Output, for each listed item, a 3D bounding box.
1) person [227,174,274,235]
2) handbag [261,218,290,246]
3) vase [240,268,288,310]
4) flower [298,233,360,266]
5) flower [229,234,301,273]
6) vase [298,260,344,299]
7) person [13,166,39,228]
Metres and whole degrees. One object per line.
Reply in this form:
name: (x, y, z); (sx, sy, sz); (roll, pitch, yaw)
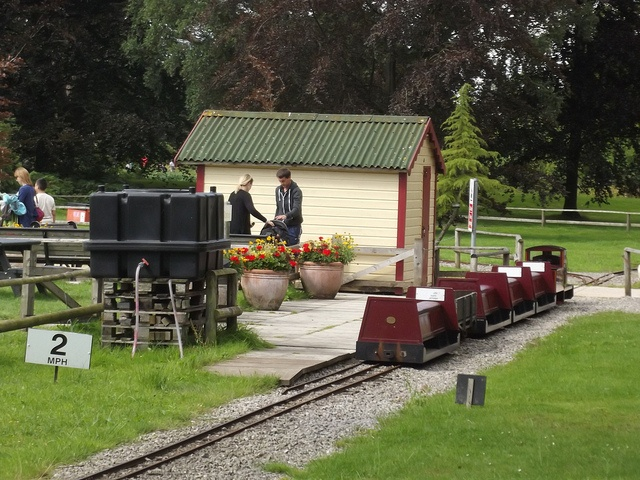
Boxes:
person: (-1.559, -0.697, 18.538); (0.631, 1.158, 1.143); (1, -3, -9)
handbag: (-0.957, -0.190, 17.974); (0.395, 0.557, 0.545); (0, -2, 36)
vase: (-1.094, 0.866, 16.595); (0.899, 0.721, 0.937); (5, 2, -3)
flower: (0.120, 0.277, 18.687); (1.013, 0.488, 1.096); (-4, -5, 8)
flower: (-1.091, 0.290, 16.251); (0.782, 0.465, 0.805); (1, 5, 36)
vase: (0.025, 0.789, 18.697); (0.960, 0.765, 0.964); (5, 5, 32)
person: (-6.399, -0.832, 19.170); (0.580, 1.473, 0.516); (1, 32, -27)
